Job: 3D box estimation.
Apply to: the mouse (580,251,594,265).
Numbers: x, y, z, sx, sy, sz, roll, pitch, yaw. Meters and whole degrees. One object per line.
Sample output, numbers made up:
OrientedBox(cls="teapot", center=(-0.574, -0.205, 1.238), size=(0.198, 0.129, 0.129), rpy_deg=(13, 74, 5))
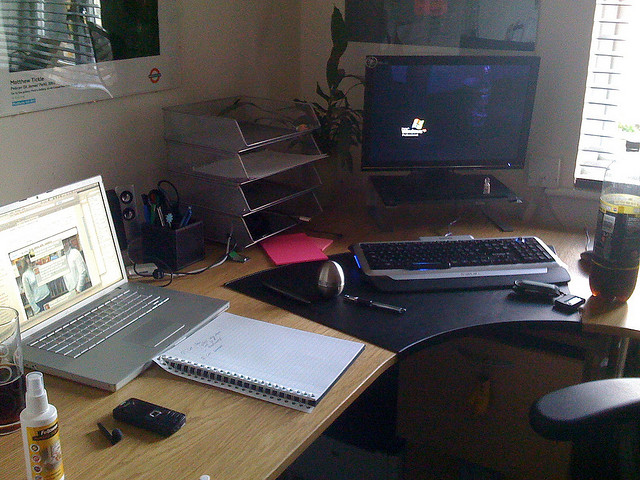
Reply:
OrientedBox(cls="mouse", center=(0.792, 0.057, 1.464), size=(0.033, 0.016, 0.042), rpy_deg=(-10, 28, -7))

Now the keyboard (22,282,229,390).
OrientedBox(cls="keyboard", center=(-0.451, 0.211, 1.096), size=(0.209, 0.027, 0.280), rpy_deg=(12, 23, 21))

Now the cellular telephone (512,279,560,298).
OrientedBox(cls="cellular telephone", center=(0.573, 0.132, 1.311), size=(0.100, 0.029, 0.047), rpy_deg=(7, 19, 12))

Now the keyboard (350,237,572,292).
OrientedBox(cls="keyboard", center=(0.406, 0.073, 1.430), size=(0.599, 0.065, 0.255), rpy_deg=(-3, 24, -4))

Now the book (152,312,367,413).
OrientedBox(cls="book", center=(-0.125, 0.251, 1.071), size=(0.397, 0.034, 0.224), rpy_deg=(8, 25, 18))

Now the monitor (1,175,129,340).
OrientedBox(cls="monitor", center=(-0.590, 0.052, 1.135), size=(0.006, 0.239, 0.356), rpy_deg=(-7, 15, 30))

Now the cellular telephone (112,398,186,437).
OrientedBox(cls="cellular telephone", center=(-0.311, 0.322, 0.905), size=(0.121, 0.026, 0.055), rpy_deg=(14, 20, 12))

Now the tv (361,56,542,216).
OrientedBox(cls="tv", center=(0.443, -0.391, 1.723), size=(0.627, 0.456, 0.283), rpy_deg=(-1, 26, -6))
